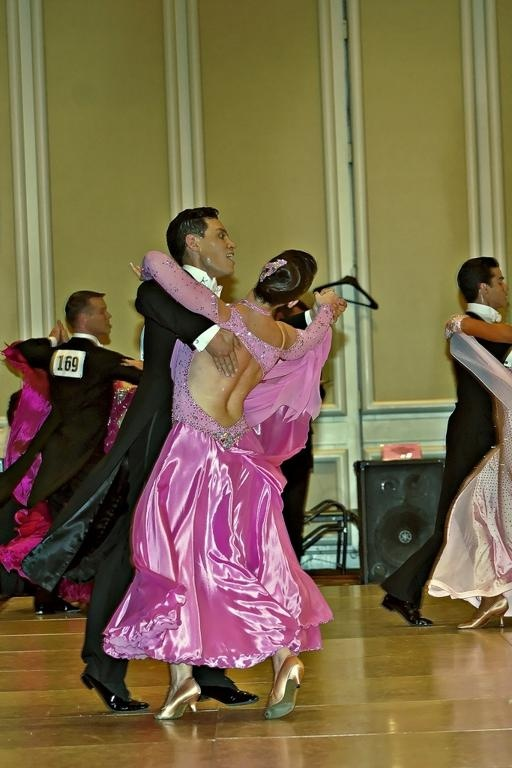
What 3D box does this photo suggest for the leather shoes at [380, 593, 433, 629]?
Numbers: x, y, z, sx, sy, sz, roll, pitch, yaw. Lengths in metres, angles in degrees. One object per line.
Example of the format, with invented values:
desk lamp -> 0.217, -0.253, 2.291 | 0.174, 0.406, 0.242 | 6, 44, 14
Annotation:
leather shoes -> 0.624, 0.941, 3.068 | 0.255, 0.108, 0.084 | 24, -5, 14

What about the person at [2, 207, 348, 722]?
person -> -0.138, 0.214, 1.862 | 0.811, 1.337, 0.489 | 0, 3, -16

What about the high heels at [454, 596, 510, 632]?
high heels -> 0.930, 0.936, 2.946 | 0.278, 0.163, 0.096 | -3, -6, 1

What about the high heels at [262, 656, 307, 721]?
high heels -> 0.071, 0.732, 1.775 | 0.076, 0.188, 0.066 | 0, 27, -35

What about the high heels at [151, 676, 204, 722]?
high heels -> -0.194, 0.789, 1.806 | 0.068, 0.103, 0.195 | -15, -14, -41

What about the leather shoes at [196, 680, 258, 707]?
leather shoes -> -0.073, 0.839, 1.967 | 0.194, 0.066, 0.065 | -1, -8, 5
